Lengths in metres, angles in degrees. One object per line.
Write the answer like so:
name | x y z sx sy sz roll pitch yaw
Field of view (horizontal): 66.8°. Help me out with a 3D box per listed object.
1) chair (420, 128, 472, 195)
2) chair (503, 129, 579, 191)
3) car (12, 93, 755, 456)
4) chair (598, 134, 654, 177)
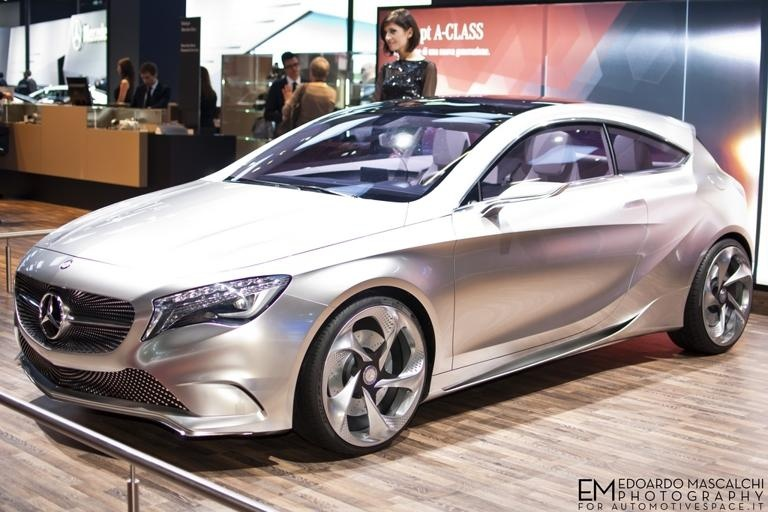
chair | 0.381 -0.456 3.387 0.169 0.244 0.227 -14 5 -11
chair | 1.030 -0.622 3.754 0.380 0.479 0.540 18 22 33
car | 0.327 0.072 3.417 3.878 1.240 1.971 -8 14 -36
chair | 1.573 -0.661 3.780 0.291 0.299 0.294 6 12 35
